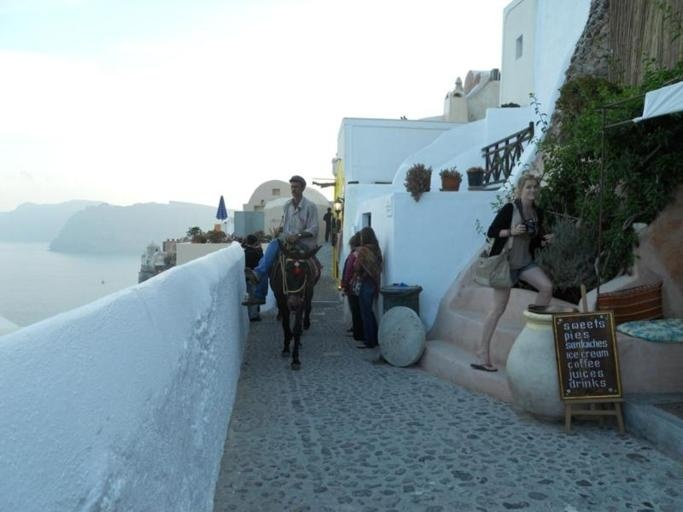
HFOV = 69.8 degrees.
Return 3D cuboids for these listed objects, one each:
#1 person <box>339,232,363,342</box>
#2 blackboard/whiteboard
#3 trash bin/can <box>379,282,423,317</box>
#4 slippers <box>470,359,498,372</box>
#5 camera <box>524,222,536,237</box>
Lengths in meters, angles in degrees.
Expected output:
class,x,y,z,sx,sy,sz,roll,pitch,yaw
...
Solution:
class,x,y,z,sx,sy,sz,roll,pitch,yaw
person,0.426,0.516,8.231,0.397,1.984,0.532,2,-4,2
blackboard/whiteboard,2.196,0.870,4.494,0.481,0.802,0.482,6,8,12
trash bin/can,0.993,0.665,7.968,0.454,0.644,0.501,0,4,8
slippers,1.657,1.281,5.685,0.221,0.103,0.135,-6,-4,34
camera,1.997,-0.285,5.150,0.091,0.191,0.064,4,-16,2
